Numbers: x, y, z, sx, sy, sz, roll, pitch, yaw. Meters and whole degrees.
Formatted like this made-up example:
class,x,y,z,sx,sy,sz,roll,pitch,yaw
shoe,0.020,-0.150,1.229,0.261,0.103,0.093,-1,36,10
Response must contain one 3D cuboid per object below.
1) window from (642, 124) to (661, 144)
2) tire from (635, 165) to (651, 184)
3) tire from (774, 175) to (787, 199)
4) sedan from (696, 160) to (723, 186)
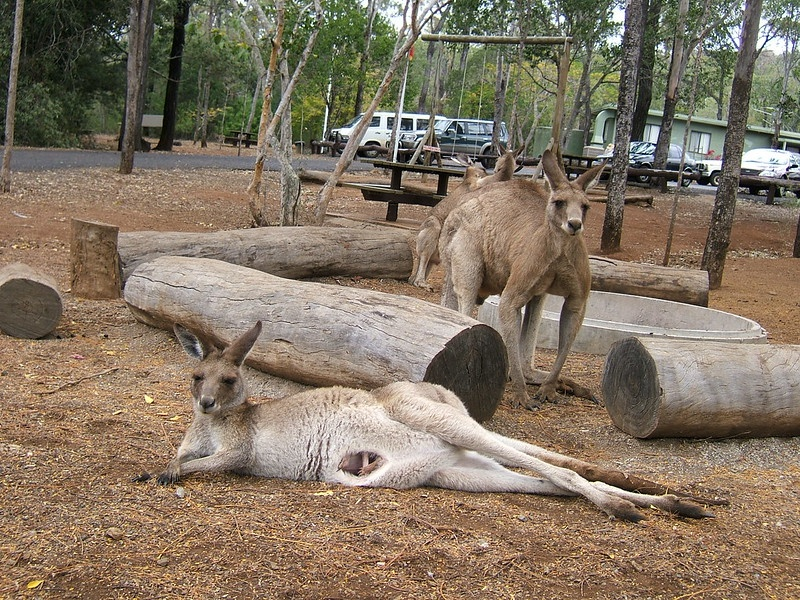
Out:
class,x,y,z,sx,sy,sz,roll,pitch,yaw
window,13.537,-9.024,39.717,0.732,0.945,3.174,6,13,17
tire,10.501,-5.401,31.702,0.548,0.771,2.012,6,13,17
tire,17.599,-5.267,34.043,0.468,1.091,3.528,9,14,26
sedan,15.471,-6.378,37.088,1.025,1.418,3.464,7,13,20
